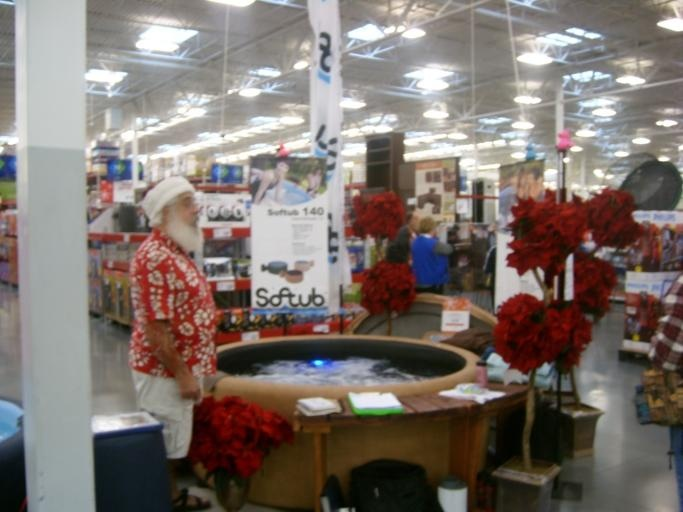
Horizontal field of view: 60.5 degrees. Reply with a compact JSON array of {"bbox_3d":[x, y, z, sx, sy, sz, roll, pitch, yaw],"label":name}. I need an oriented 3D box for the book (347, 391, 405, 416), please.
[{"bbox_3d":[0.211,0.898,3.598,0.313,0.060,0.303,-2,3,-7],"label":"book"}]

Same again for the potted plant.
[{"bbox_3d":[1.553,0.460,4.086,0.912,1.824,2.060,1,4,34],"label":"potted plant"}]

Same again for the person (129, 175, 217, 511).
[{"bbox_3d":[-0.966,0.574,3.400,0.464,2.056,0.450,-3,4,-27],"label":"person"}]

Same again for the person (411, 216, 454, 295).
[{"bbox_3d":[1.154,-0.011,7.453,0.516,0.977,0.511,-1,4,13],"label":"person"}]
